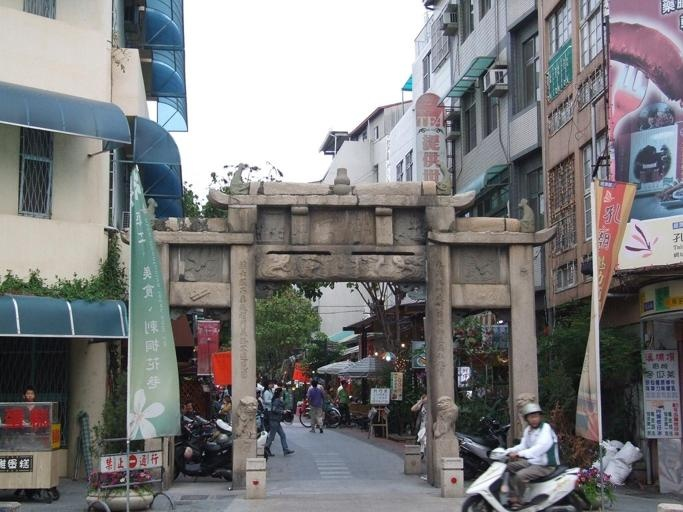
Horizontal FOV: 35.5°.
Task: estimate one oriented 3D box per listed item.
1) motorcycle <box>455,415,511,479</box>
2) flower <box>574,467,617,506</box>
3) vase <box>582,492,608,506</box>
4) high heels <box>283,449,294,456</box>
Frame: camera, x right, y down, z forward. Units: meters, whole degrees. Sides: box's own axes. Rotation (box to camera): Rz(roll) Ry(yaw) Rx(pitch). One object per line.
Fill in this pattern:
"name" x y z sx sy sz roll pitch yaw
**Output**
"motorcycle" 3.357 4.627 26.182 1.708 1.382 0.859 -2 -2 -20
"flower" 5.109 4.660 21.609 0.784 0.986 0.732 -1 -3 20
"vase" 5.045 4.905 21.261 0.506 0.391 0.571 0 -11 1
"high heels" -1.535 5.708 31.168 0.274 0.244 0.128 -9 1 0
